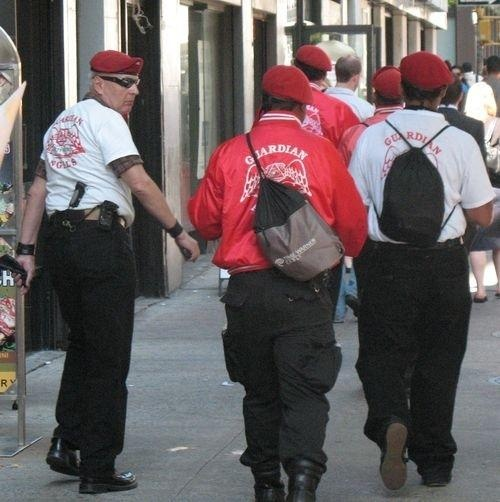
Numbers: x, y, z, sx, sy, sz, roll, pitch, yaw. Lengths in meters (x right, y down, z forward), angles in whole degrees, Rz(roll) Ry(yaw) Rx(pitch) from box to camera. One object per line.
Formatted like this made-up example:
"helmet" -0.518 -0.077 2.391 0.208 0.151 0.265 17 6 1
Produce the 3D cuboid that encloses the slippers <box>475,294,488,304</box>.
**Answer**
"slippers" 2.121 0.440 9.520 0.114 0.081 0.294 -2 0 11

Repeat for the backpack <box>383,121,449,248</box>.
"backpack" 0.728 -0.308 4.663 0.347 0.503 0.288 -7 26 -16

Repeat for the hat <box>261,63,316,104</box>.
"hat" 0.152 -0.739 4.506 0.297 0.130 0.195 0 24 -34

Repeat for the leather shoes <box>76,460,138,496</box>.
"leather shoes" -0.648 1.048 4.745 0.272 0.103 0.103 -3 5 -27

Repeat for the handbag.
"handbag" 0.189 -0.095 4.218 0.347 0.403 0.148 -1 7 0

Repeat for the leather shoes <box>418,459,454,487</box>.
"leather shoes" 0.851 1.027 4.750 0.076 0.081 0.209 0 3 15

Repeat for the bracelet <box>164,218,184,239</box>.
"bracelet" -0.334 -0.106 4.696 0.084 0.074 0.080 36 23 -7

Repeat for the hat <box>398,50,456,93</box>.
"hat" 0.810 -0.849 4.770 0.193 0.084 0.219 17 52 8

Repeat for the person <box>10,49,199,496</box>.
"person" -0.733 0.191 4.802 0.852 1.794 0.508 5 10 40

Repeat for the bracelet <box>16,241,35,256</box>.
"bracelet" -1.100 -0.019 5.066 0.078 0.050 0.074 8 6 21

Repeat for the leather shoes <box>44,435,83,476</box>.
"leather shoes" -0.898 0.967 4.871 0.129 0.130 0.293 8 -29 -1

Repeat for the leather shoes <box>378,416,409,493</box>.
"leather shoes" 0.631 0.906 4.529 0.125 0.290 0.131 0 -13 3
